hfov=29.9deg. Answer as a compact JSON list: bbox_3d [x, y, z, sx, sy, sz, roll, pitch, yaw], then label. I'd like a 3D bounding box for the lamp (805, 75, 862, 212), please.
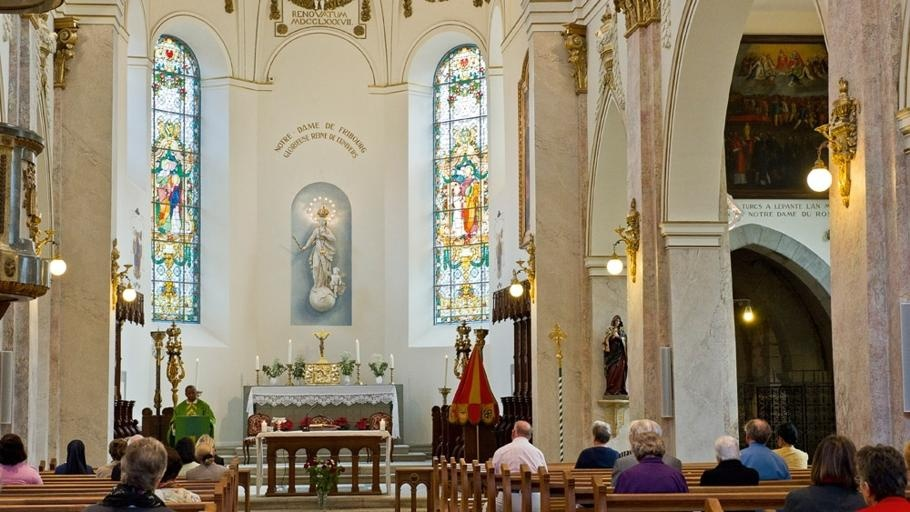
[{"bbox_3d":[5.600,-1.637,25.222,0.489,1.858,0.843,4,-15,-25],"label":"lamp"}]

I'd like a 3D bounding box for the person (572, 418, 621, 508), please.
[{"bbox_3d":[2.280,3.318,26.794,1.003,1.461,0.912,0,14,-1],"label":"person"}]

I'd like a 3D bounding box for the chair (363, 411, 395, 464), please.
[{"bbox_3d":[-1.493,3.877,35.987,0.694,1.004,0.721,0,-3,8],"label":"chair"}]

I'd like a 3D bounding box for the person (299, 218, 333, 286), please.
[{"bbox_3d":[-3.023,-0.030,39.079,0.750,1.583,0.352,0,-13,-8],"label":"person"}]

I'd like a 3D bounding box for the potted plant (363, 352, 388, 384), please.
[{"bbox_3d":[-1.637,2.582,38.391,0.574,0.747,0.656,2,-3,-32],"label":"potted plant"}]

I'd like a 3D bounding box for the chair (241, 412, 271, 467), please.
[{"bbox_3d":[-4.077,3.914,36.146,0.723,1.070,0.787,-2,-3,19],"label":"chair"}]

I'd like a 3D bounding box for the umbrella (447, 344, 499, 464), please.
[{"bbox_3d":[0.457,2.835,33.130,1.142,2.180,1.116,0,0,-29],"label":"umbrella"}]

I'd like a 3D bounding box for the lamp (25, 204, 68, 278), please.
[{"bbox_3d":[-6.762,-0.238,28.537,0.588,1.226,0.330,-8,1,-41],"label":"lamp"}]

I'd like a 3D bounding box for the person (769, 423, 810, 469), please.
[{"bbox_3d":[5.198,3.016,26.573,0.735,0.687,0.376,7,-7,-33],"label":"person"}]

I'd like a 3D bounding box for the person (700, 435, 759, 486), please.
[{"bbox_3d":[4.011,3.096,24.990,0.905,0.769,0.437,-1,-1,-19],"label":"person"}]

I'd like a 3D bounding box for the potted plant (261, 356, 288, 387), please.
[{"bbox_3d":[-4.014,2.632,38.011,0.582,0.557,0.571,1,-2,10],"label":"potted plant"}]

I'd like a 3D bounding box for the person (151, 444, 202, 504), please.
[{"bbox_3d":[-4.020,3.253,24.915,1.065,0.855,0.509,0,1,-7],"label":"person"}]

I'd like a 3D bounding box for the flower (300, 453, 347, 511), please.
[{"bbox_3d":[-2.420,4.291,32.018,0.838,0.947,0.864,-5,-8,29],"label":"flower"}]

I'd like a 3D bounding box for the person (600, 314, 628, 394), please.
[{"bbox_3d":[3.014,1.924,31.959,0.455,1.547,0.437,-3,-13,2],"label":"person"}]
